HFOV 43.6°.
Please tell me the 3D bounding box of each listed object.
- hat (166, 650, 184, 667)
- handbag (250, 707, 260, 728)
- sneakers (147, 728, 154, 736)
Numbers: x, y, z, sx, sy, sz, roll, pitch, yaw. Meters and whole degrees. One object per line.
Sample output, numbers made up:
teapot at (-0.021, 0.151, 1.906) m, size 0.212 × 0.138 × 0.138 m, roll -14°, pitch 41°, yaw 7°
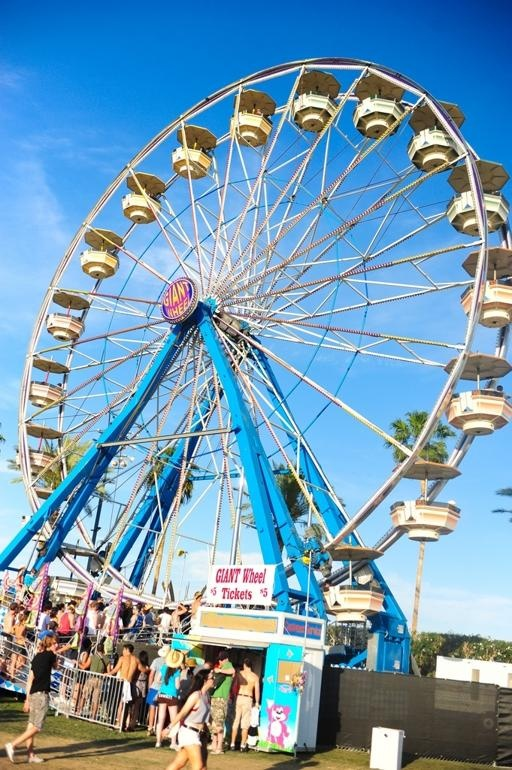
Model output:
hat at (-1.149, 3.944, 9.208) m, size 0.253 × 0.257 × 0.094 m, roll -5°, pitch -35°, yaw 11°
handbag at (-0.022, 5.352, 10.360) m, size 0.140 × 0.357 × 0.190 m, roll 7°, pitch -18°, yaw 6°
sneakers at (-1.698, 5.562, 10.291) m, size 0.095 × 0.049 × 0.423 m, roll 9°, pitch -17°, yaw -6°
